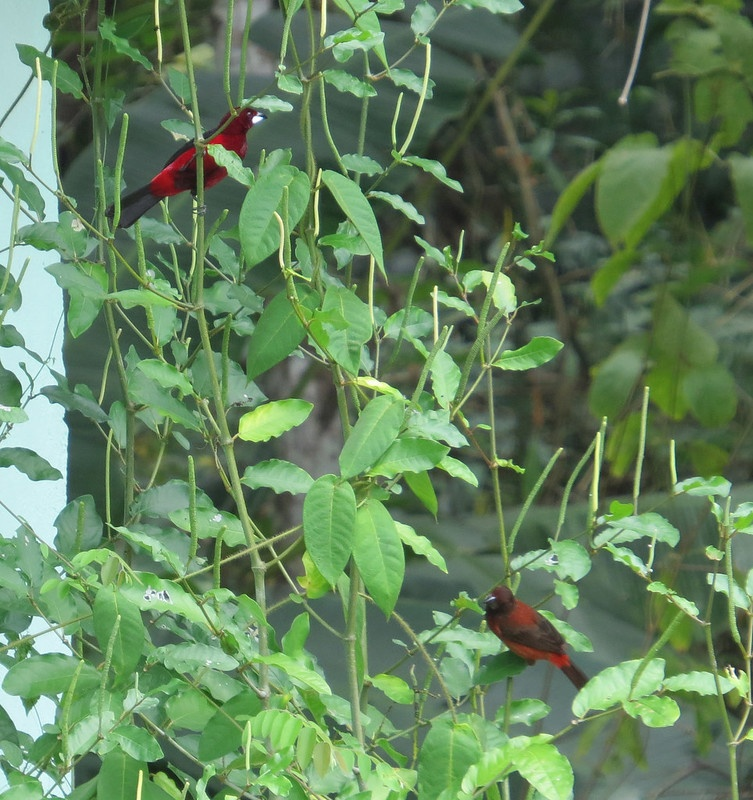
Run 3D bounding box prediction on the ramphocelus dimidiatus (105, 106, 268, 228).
[{"bbox_3d":[-0.326,-0.402,2.183,0.329,0.155,0.096,-10,-25,28],"label":"ramphocelus dimidiatus"}]
